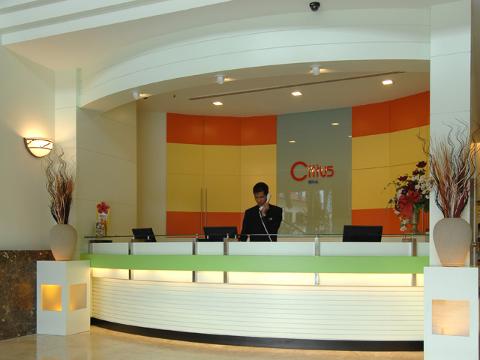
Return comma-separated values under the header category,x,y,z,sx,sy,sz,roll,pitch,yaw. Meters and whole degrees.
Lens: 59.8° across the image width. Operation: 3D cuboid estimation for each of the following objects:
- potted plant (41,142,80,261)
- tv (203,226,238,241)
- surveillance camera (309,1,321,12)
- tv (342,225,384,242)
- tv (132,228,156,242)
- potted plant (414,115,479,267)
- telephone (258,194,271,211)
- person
category,x,y,z,sx,sy,sz,roll,pitch,yaw
potted plant,-3.304,0.384,7.642,0.514,2.132,0.862,5,-9,-33
tv,-0.284,0.844,6.577,0.440,0.245,0.312,0,-18,7
surveillance camera,1.069,-2.475,5.961,0.105,0.055,0.111,0,-13,7
tv,1.755,0.774,5.962,0.534,0.233,0.209,-1,-8,14
tv,-1.661,0.951,7.204,0.363,0.237,0.607,3,-8,-15
potted plant,2.734,0.142,5.313,0.614,1.889,0.657,-3,-8,25
telephone,0.419,0.358,6.746,0.120,0.355,0.097,36,28,22
person,0.368,0.544,7.051,0.709,0.978,1.264,1,-7,1
